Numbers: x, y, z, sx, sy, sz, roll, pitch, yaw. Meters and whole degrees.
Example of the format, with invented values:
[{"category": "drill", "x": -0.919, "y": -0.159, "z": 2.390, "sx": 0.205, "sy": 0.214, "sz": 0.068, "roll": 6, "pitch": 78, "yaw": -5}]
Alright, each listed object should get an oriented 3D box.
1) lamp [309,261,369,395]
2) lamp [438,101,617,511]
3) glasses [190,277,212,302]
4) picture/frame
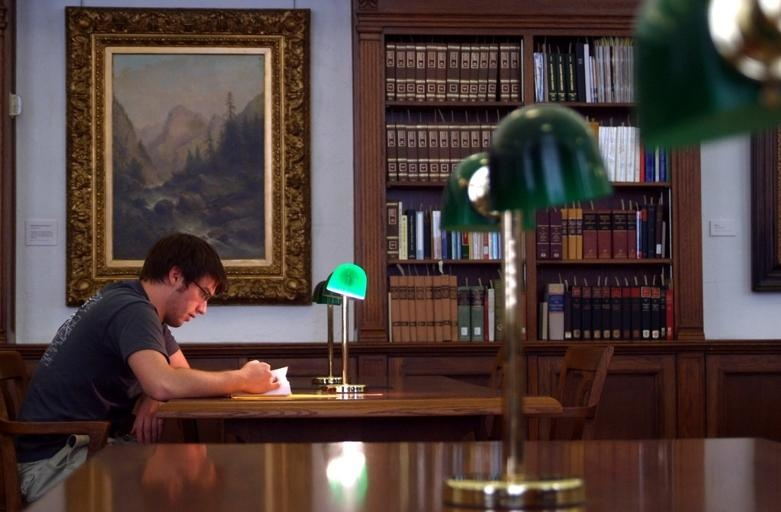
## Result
[{"category": "lamp", "x": -0.330, "y": 0.490, "z": 6.919, "sx": 0.260, "sy": 0.661, "sz": 0.765, "roll": 0, "pitch": 0, "yaw": -15}, {"category": "lamp", "x": 0.598, "y": 0.179, "z": 4.785, "sx": 0.715, "sy": 1.692, "sz": 0.749, "roll": 0, "pitch": 10, "yaw": 6}, {"category": "glasses", "x": -1.073, "y": 0.185, "z": 5.999, "sx": 0.031, "sy": 0.109, "sz": 0.101, "roll": -25, "pitch": -24, "yaw": 21}, {"category": "picture/frame", "x": -1.465, "y": -0.682, "z": 7.571, "sx": 1.967, "sy": 2.581, "sz": 0.181, "roll": 0, "pitch": -3, "yaw": -6}]
